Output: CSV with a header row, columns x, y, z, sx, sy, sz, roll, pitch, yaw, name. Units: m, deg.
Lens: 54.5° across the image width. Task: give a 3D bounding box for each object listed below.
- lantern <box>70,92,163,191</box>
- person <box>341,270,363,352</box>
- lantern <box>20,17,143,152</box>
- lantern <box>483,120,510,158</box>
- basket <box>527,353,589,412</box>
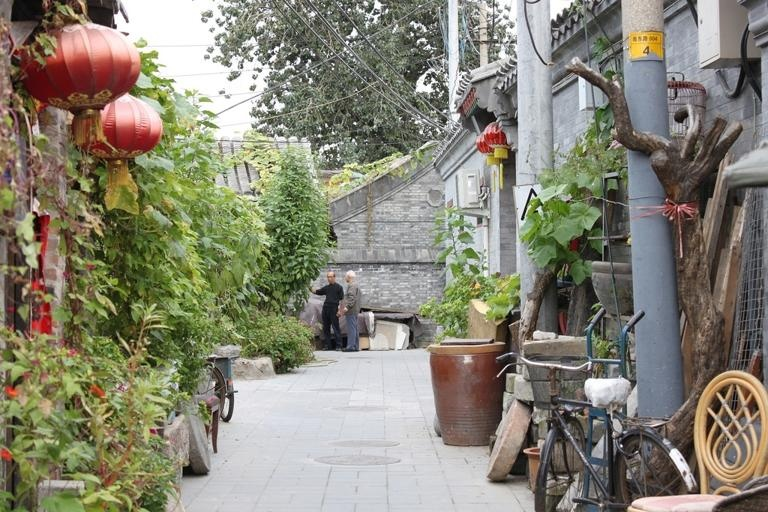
x,y,z,sx,sy,sz,roll,pitch,yaw,name
-1.961,-0.826,5.716,0.571,0.939,0.639,1,4,31,lantern
-0.925,1.488,20.276,0.489,2.164,1.151,0,0,-3,person
-1.946,-1.102,5.059,0.680,0.841,0.712,-3,4,21,lantern
1.855,-1.898,12.058,0.382,0.563,0.535,0,0,-34,lantern
1.665,1.183,7.118,0.551,0.445,0.542,2,-8,-12,basket
